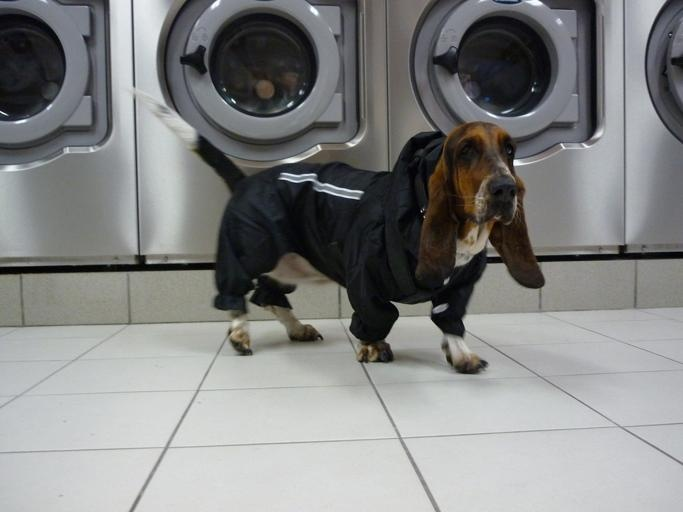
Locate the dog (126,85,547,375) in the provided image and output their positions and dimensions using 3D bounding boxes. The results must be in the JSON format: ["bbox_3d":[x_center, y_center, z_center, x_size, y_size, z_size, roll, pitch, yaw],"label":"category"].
[{"bbox_3d":[-0.152,-0.089,2.175,1.701,0.885,0.627,7,2,30],"label":"dog"}]
